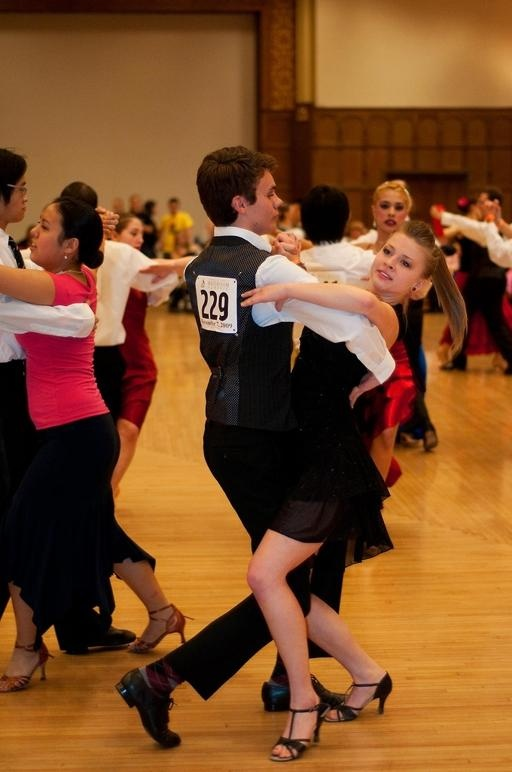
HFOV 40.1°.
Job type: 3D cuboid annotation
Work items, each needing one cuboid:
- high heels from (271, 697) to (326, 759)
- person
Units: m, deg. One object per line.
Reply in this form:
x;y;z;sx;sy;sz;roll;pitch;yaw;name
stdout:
0.115;0.717;1.504;0.063;0.068;0.185;-2;11;31;high heels
-0.103;0.167;1.691;1.050;1.386;0.750;0;11;7;person
